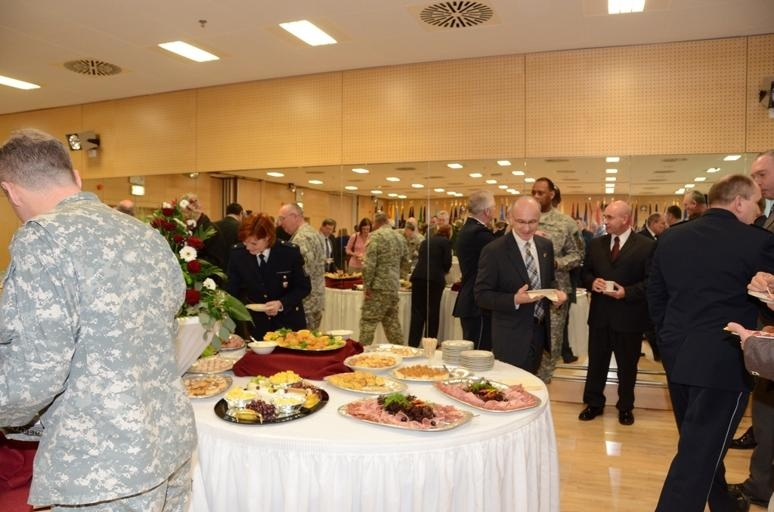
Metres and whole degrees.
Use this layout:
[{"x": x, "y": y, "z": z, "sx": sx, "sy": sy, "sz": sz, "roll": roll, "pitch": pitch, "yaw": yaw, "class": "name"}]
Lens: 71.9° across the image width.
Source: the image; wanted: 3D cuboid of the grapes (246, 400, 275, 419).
[{"x": -0.680, "y": 0.824, "z": 2.856, "sx": 0.087, "sy": 0.038, "sz": 0.109, "roll": 15, "pitch": -7, "yaw": -18, "class": "grapes"}]

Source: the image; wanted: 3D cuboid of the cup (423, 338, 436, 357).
[{"x": 0.285, "y": 0.619, "z": 3.596, "sx": 0.134, "sy": 0.146, "sz": 0.129, "roll": -1, "pitch": -2, "yaw": 0, "class": "cup"}]

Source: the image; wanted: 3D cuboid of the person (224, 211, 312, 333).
[{"x": -1.001, "y": 0.178, "z": 4.440, "sx": 0.680, "sy": 1.056, "sz": 0.795, "roll": -2, "pitch": 5, "yaw": -10, "class": "person"}]

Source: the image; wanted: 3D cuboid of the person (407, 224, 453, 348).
[{"x": 0.504, "y": 0.365, "z": 6.432, "sx": 0.534, "sy": 1.462, "sz": 0.177, "roll": -1, "pitch": 6, "yaw": 2, "class": "person"}]

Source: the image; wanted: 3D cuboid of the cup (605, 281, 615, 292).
[{"x": 2.117, "y": 0.291, "z": 5.062, "sx": 0.080, "sy": 0.106, "sz": 0.134, "roll": 1, "pitch": 5, "yaw": 24, "class": "cup"}]

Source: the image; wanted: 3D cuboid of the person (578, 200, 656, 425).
[{"x": 2.291, "y": 0.578, "z": 5.328, "sx": 0.662, "sy": 2.218, "sz": 0.606, "roll": 1, "pitch": 6, "yaw": 21, "class": "person"}]

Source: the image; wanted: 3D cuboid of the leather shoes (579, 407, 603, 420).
[{"x": 2.078, "y": 1.627, "z": 5.517, "sx": 0.289, "sy": 0.120, "sz": 0.108, "roll": 2, "pitch": -2, "yaw": -27, "class": "leather shoes"}]

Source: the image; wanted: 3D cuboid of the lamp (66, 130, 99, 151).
[{"x": -4.833, "y": -1.821, "z": 8.429, "sx": 0.407, "sy": 0.350, "sz": 0.105, "roll": -2, "pitch": 14, "yaw": 12, "class": "lamp"}]
